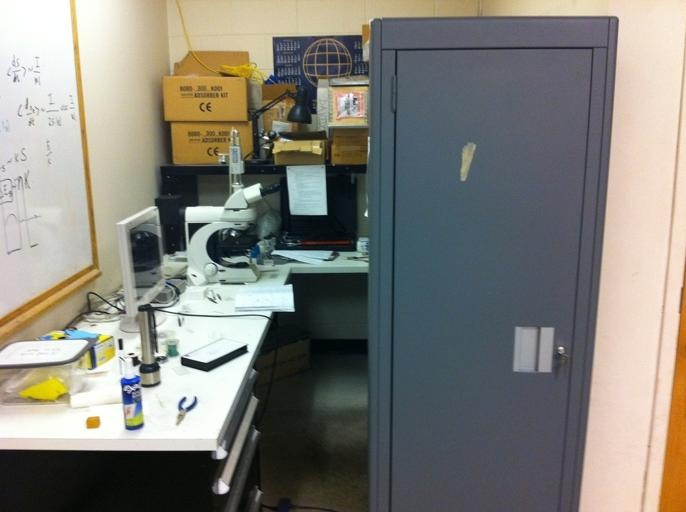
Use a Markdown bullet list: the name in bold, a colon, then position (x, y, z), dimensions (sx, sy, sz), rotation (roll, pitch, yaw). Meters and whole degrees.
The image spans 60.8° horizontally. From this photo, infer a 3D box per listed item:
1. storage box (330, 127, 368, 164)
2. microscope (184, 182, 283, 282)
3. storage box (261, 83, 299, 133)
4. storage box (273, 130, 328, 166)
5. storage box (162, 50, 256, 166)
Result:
- **storage box**: position (0.039, -0.652, 3.527), dimensions (0.235, 0.222, 0.232), rotation (1, 10, 1)
- **microscope**: position (-0.563, -0.110, 3.069), dimensions (0.487, 0.503, 0.363), rotation (-1, -1, 6)
- **storage box**: position (-0.419, -0.951, 3.773), dimensions (0.172, 0.296, 0.239), rotation (5, 11, -3)
- **storage box**: position (-0.256, -0.640, 3.477), dimensions (0.303, 0.193, 0.250), rotation (-3, 16, -5)
- **storage box**: position (-0.834, -0.908, 3.588), dimensions (0.540, 0.658, 0.324), rotation (-4, 16, -8)
